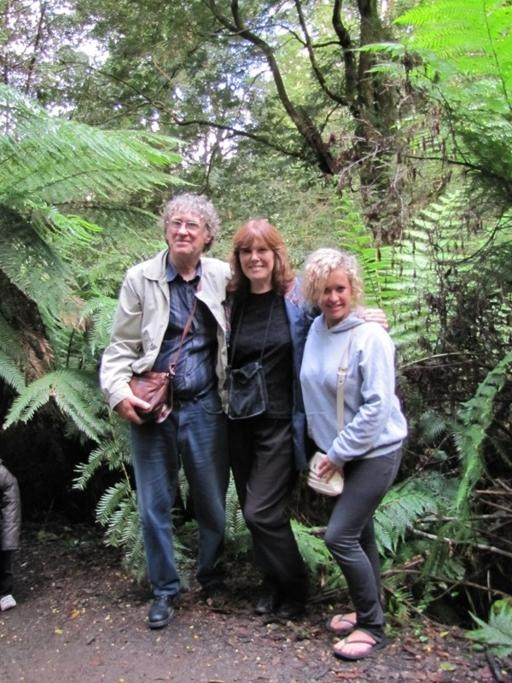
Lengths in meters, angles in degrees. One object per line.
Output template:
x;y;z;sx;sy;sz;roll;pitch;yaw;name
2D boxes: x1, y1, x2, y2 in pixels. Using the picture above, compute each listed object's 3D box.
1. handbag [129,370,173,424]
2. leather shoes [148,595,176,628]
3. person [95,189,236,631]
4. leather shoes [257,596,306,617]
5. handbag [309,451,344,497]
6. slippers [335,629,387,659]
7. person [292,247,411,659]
-0.523;0.277;2.786;0.274;0.239;0.131;-5;-14;32;handbag
-0.505;1.447;2.987;0.080;0.079;0.199;1;-1;1;leather shoes
-0.390;0.505;2.964;0.738;1.659;0.377;-8;4;-17;person
0.132;1.460;3.034;0.302;0.117;0.092;-4;42;4;leather shoes
0.334;0.626;2.623;0.168;0.202;0.083;27;-14;-2;handbag
0.462;1.372;2.526;0.237;0.095;0.096;0;27;-14;slippers
0.478;0.513;2.598;0.467;1.936;0.439;-6;4;7;person
